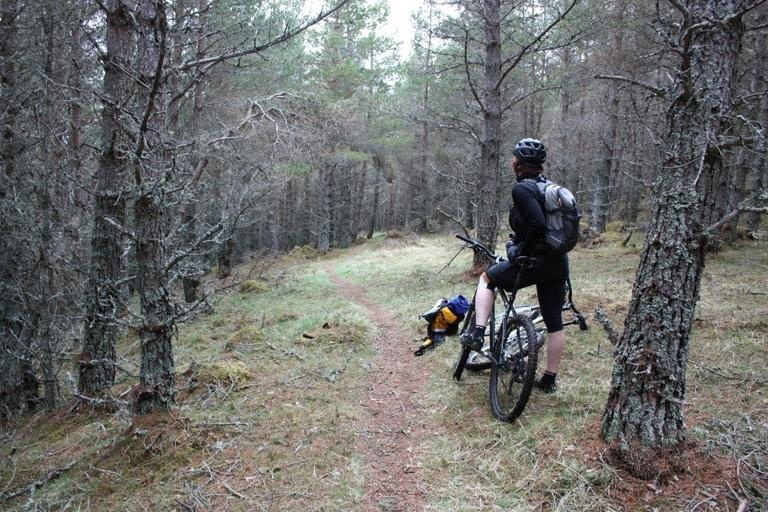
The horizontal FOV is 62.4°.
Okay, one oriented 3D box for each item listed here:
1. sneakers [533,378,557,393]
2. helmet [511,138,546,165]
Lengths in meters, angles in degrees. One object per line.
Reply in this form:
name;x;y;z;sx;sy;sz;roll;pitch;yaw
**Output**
sneakers;2.471;1.996;9.807;0.169;0.263;0.343;-2;12;-26
helmet;2.180;-1.597;9.758;0.343;0.327;0.448;1;-8;-13
